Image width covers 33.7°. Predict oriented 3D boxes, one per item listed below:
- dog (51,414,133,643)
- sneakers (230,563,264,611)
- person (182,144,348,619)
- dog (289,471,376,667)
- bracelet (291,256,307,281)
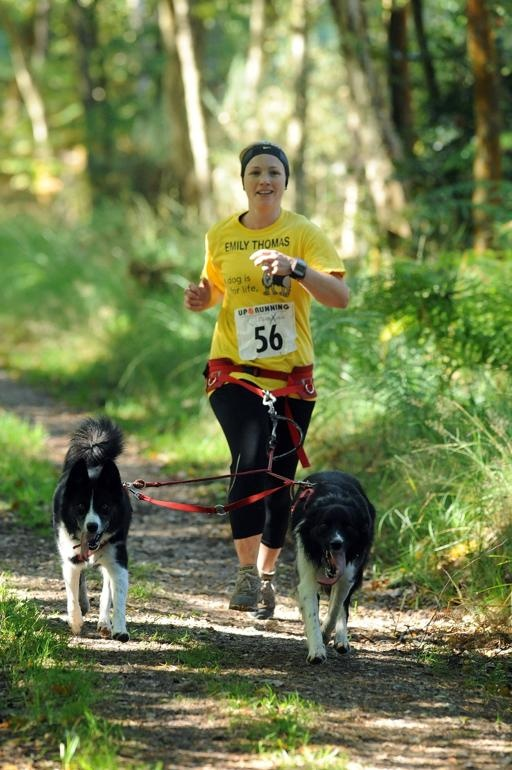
[{"bbox_3d":[-0.775,0.675,4.050,0.403,0.981,0.666,6,1,-12],"label":"dog"},{"bbox_3d":[-0.045,1.022,4.252,0.112,0.129,0.283,0,-2,5],"label":"sneakers"},{"bbox_3d":[-0.012,0.022,4.223,0.655,2.313,0.913,6,1,-19],"label":"person"},{"bbox_3d":[0.387,0.882,4.295,0.412,0.807,1.310,1,-2,4],"label":"dog"},{"bbox_3d":[0.194,-0.517,3.799,0.074,0.085,0.039,-1,13,-29],"label":"bracelet"}]
